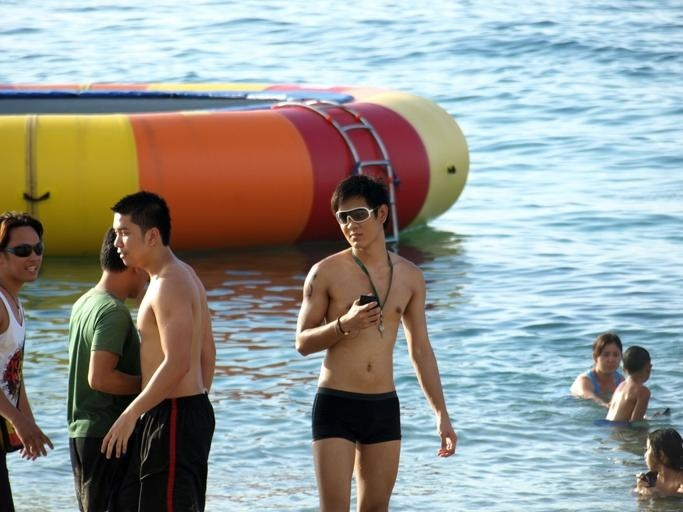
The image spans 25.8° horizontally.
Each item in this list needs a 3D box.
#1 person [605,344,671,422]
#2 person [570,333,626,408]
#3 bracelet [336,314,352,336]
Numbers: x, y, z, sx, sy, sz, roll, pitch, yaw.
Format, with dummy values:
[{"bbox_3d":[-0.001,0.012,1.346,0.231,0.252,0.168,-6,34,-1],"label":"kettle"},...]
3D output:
[{"bbox_3d":[3.014,1.504,15.572,0.568,1.124,0.491,8,3,0],"label":"person"},{"bbox_3d":[2.790,1.220,15.773,0.706,0.739,0.963,0,4,10],"label":"person"},{"bbox_3d":[0.005,0.594,12.943,0.102,0.153,0.066,2,7,0],"label":"bracelet"}]
